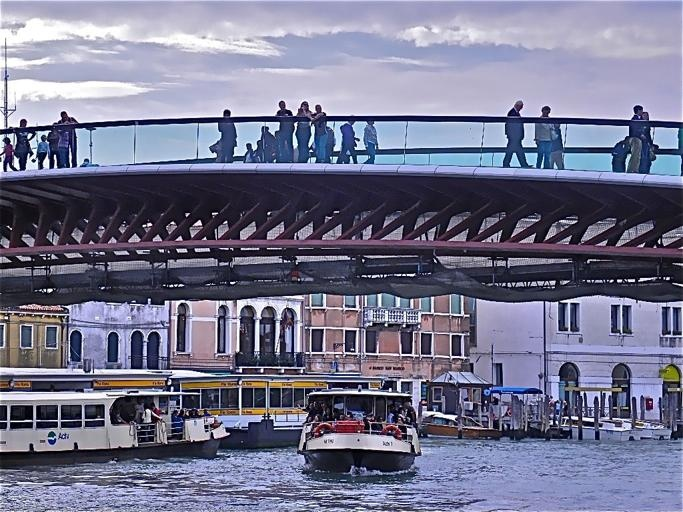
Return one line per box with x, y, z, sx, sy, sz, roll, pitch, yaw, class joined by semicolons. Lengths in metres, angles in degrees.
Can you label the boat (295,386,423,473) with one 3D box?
0.167;7.050;101.422;5.192;3.582;10.604;2;6;-7;boat
